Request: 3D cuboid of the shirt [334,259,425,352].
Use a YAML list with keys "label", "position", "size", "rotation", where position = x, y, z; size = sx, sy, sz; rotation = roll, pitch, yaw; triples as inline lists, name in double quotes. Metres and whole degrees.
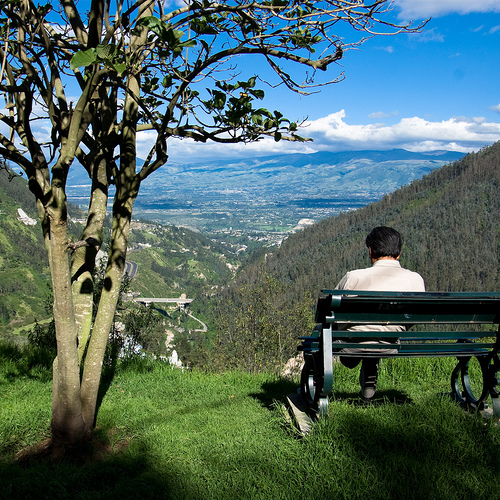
- label: "shirt"
  position: [1.627, 0.549, 4.841]
  size: [0.663, 1.023, 1.172]
  rotation: [-14, -6, 32]
